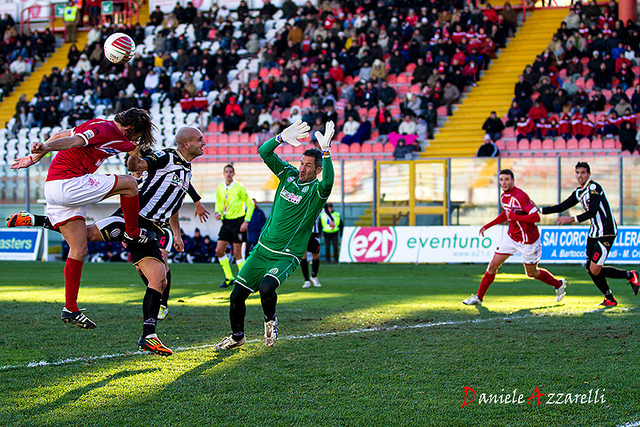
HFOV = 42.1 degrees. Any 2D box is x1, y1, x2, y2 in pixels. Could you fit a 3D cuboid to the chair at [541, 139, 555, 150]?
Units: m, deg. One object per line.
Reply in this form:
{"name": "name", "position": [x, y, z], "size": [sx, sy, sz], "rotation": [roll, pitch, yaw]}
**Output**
{"name": "chair", "position": [7.440, -2.270, 27.033], "size": [0.297, 0.298, 0.287], "rotation": [4, 14, 5]}

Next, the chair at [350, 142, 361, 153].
{"name": "chair", "position": [1.240, -2.284, 28.747], "size": [0.306, 0.366, 0.298], "rotation": [0, -3, 3]}

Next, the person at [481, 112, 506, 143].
{"name": "person", "position": [5.800, -2.867, 27.709], "size": [0.687, 1.185, 0.575], "rotation": [3, -7, -8]}

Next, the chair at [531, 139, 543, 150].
{"name": "chair", "position": [7.074, -2.258, 27.048], "size": [0.321, 0.307, 0.327], "rotation": [2, -10, 0]}

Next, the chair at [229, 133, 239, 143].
{"name": "chair", "position": [-3.171, -2.818, 30.829], "size": [0.324, 0.353, 0.419], "rotation": [1, 1, 2]}

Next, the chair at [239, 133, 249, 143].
{"name": "chair", "position": [-2.779, -2.803, 30.564], "size": [0.274, 0.358, 0.293], "rotation": [1, -5, 0]}

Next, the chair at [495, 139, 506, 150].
{"name": "chair", "position": [5.963, -2.296, 27.386], "size": [0.349, 0.300, 0.276], "rotation": [2, 12, 10]}

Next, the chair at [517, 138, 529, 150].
{"name": "chair", "position": [6.669, -2.265, 27.113], "size": [0.306, 0.321, 0.145], "rotation": [-5, -14, 31]}

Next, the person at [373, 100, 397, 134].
{"name": "person", "position": [2.273, -3.326, 28.853], "size": [0.465, 1.075, 1.186], "rotation": [-4, 12, -21]}
